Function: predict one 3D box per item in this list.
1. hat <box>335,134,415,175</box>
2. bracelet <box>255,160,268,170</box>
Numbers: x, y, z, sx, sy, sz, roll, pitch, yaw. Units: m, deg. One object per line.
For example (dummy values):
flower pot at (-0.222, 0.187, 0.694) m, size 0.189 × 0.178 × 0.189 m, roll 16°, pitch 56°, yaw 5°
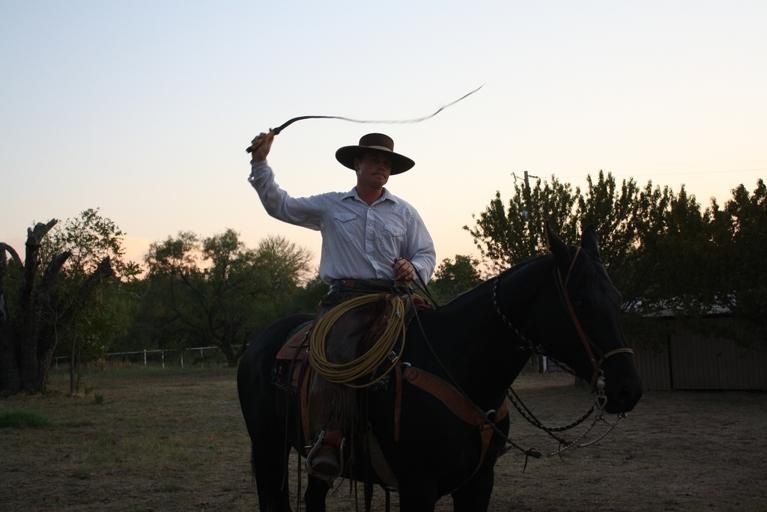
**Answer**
hat at (-0.150, -1.683, 10.251) m, size 1.067 × 0.321 × 1.011 m, roll 7°, pitch 4°, yaw -19°
bracelet at (-1.832, -1.362, 9.953) m, size 0.214 × 0.125 × 0.062 m, roll 3°, pitch 0°, yaw 11°
